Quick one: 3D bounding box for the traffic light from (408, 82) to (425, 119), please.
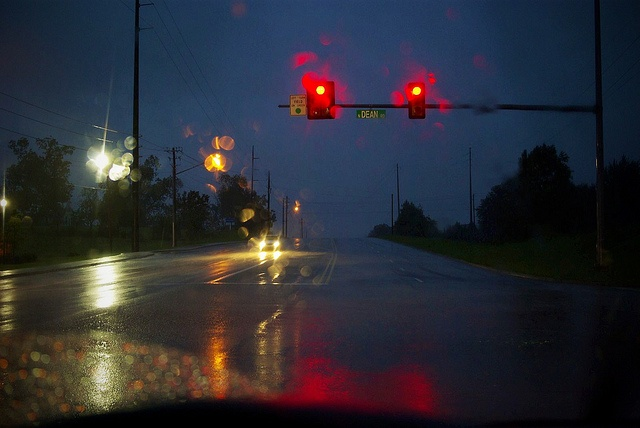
[{"bbox_3d":[4.457,-5.245,26.658,0.855,2.214,0.385,0,-26,2],"label":"traffic light"}]
